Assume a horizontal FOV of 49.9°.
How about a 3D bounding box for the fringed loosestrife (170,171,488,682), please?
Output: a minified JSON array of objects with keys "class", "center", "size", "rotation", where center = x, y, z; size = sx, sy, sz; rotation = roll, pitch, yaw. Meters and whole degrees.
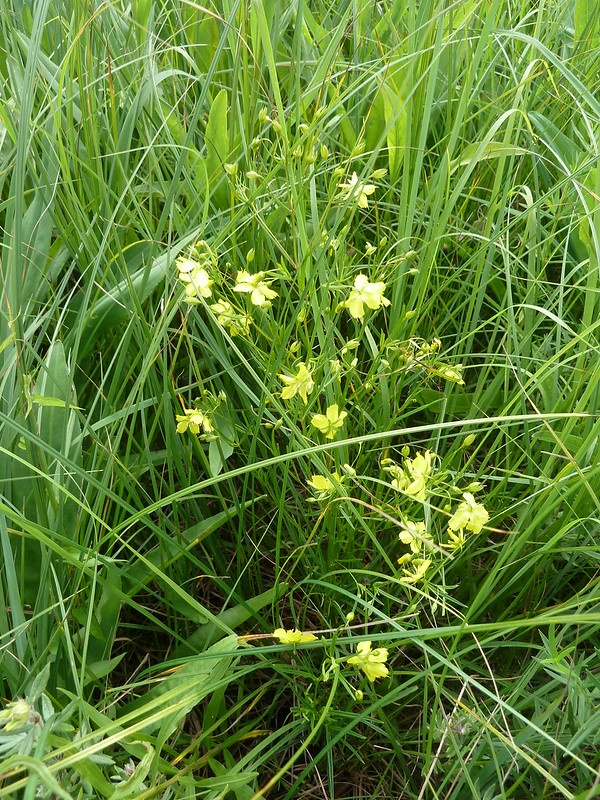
[{"class":"fringed loosestrife","center":[0.017,-0.004,0.712],"size":[0.432,0.353,0.288],"rotation":[33,54,16]}]
